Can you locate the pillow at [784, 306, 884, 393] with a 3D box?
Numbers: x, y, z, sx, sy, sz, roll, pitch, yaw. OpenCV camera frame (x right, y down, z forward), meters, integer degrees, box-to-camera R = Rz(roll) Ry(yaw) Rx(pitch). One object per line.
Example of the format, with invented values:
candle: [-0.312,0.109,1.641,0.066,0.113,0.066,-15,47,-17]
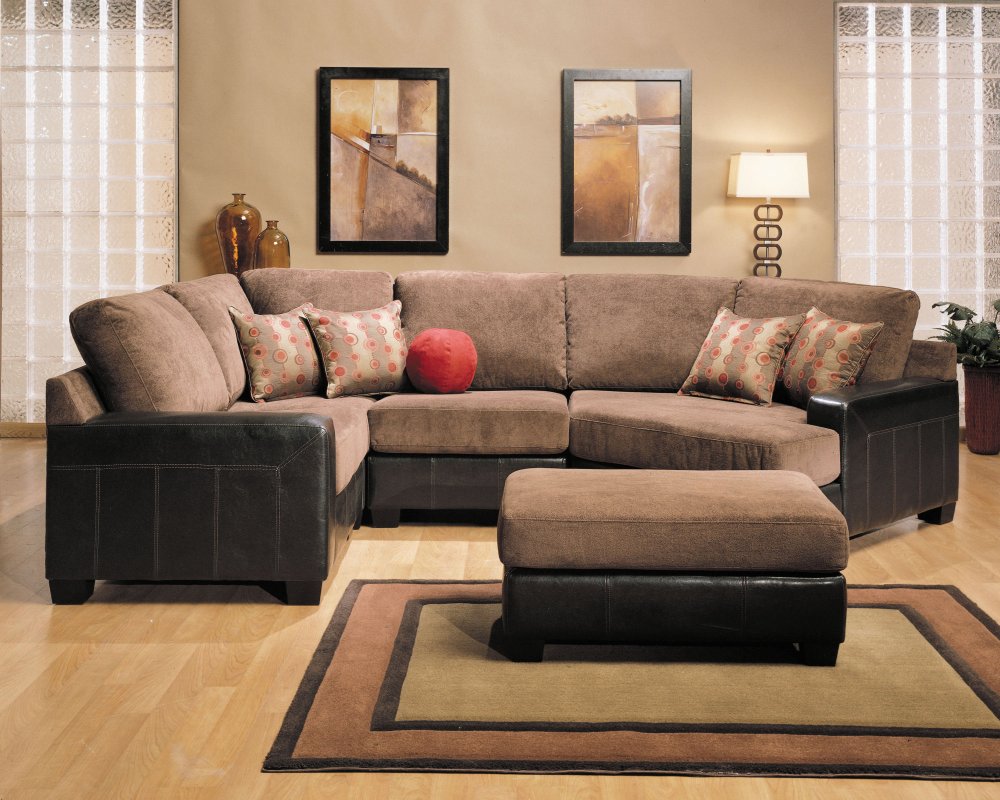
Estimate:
pillow: [1.324,-0.179,4.109,0.244,0.359,0.430,-19,30,-22]

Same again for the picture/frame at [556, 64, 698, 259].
picture/frame: [0.713,-1.310,5.494,0.827,0.995,0.050,-7,16,-22]

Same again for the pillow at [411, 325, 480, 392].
pillow: [-0.217,-0.165,4.475,0.390,0.302,0.355,-3,0,-25]

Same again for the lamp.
lamp: [1.472,-0.996,5.375,0.380,0.509,0.359,8,-10,-14]

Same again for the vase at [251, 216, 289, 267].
vase: [-1.214,-0.826,5.335,0.156,0.239,0.187,-9,15,-31]

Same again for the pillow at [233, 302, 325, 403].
pillow: [-0.921,-0.184,4.090,0.116,0.343,0.383,-16,-2,32]

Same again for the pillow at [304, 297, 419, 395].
pillow: [-0.594,-0.223,4.288,0.442,0.379,0.130,-9,-15,-43]

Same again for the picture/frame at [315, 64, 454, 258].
picture/frame: [-0.642,-1.358,5.483,1.155,1.357,0.065,0,5,0]
